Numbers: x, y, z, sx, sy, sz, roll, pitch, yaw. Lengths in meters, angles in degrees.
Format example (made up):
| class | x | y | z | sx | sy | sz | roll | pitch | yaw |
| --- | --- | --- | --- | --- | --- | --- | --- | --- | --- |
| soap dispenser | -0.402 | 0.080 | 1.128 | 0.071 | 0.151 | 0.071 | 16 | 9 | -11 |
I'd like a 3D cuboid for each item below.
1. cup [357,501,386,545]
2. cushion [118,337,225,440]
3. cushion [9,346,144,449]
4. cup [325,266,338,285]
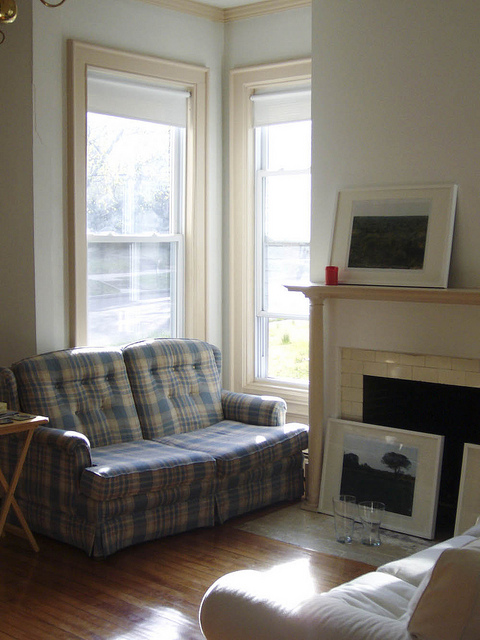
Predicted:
| class | x | y | z | sx | sy | sz | roll | pitch | yaw |
| --- | --- | --- | --- | --- | --- | --- | --- | --- | --- |
| cup | 0.676 | 1.040 | 2.754 | 0.146 | 0.189 | 0.147 | 7 | -9 | 1 |
| cushion | -0.452 | 0.487 | 3.747 | 0.711 | 0.675 | 0.266 | -4 | -20 | -30 |
| cushion | -0.945 | 0.514 | 3.231 | 0.240 | 0.636 | 0.646 | -22 | -8 | 39 |
| cup | 0.549 | -0.269 | 3.226 | 0.066 | 0.103 | 0.062 | 1 | 0 | 0 |
